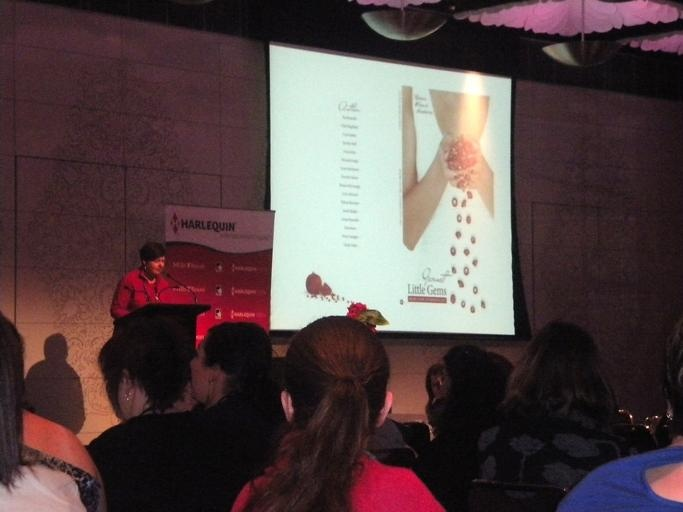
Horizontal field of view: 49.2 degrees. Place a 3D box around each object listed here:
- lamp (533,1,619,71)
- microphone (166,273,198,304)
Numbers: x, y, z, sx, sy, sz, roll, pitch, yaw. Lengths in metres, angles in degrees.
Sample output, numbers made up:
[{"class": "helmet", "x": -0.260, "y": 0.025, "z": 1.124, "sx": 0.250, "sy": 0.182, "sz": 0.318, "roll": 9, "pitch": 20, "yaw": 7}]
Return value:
[{"class": "lamp", "x": 1.734, "y": -1.583, "z": 5.443, "sx": 0.343, "sy": 0.435, "sz": 0.373, "roll": 1, "pitch": -3, "yaw": -4}, {"class": "microphone", "x": -1.117, "y": 0.224, "z": 5.164, "sx": 0.250, "sy": 0.173, "sz": 0.240, "roll": 4, "pitch": -3, "yaw": 6}]
